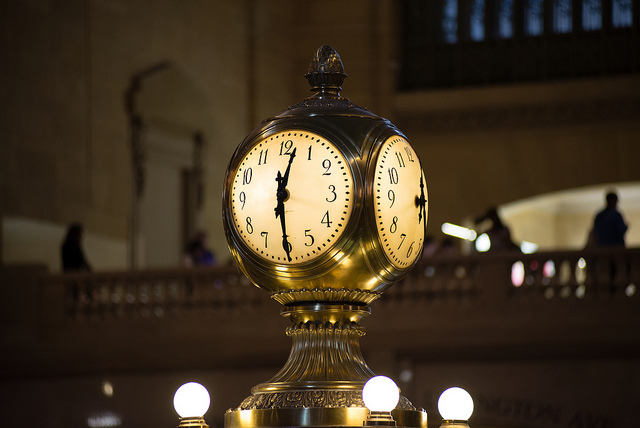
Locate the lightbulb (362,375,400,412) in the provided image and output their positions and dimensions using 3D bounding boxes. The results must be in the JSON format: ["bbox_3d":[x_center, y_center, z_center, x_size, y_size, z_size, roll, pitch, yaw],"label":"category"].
[{"bbox_3d":[0.327,1.165,9.672,0.185,0.235,0.188,3,-11,-37],"label":"lightbulb"}]

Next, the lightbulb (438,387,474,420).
[{"bbox_3d":[0.869,1.218,9.733,0.191,0.211,0.195,0,-10,-6],"label":"lightbulb"}]

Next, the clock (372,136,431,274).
[{"bbox_3d":[0.516,-0.047,9.837,0.360,0.699,0.567,1,-34,2],"label":"clock"}]

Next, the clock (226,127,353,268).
[{"bbox_3d":[-0.194,-0.090,9.756,0.781,0.731,0.479,2,-34,0],"label":"clock"}]

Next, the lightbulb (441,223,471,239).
[{"bbox_3d":[2.044,0.323,22.627,0.650,0.180,0.171,18,-5,-43],"label":"lightbulb"}]

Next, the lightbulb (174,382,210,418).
[{"bbox_3d":[-0.830,1.187,9.760,0.205,0.242,0.212,2,-3,-1],"label":"lightbulb"}]
